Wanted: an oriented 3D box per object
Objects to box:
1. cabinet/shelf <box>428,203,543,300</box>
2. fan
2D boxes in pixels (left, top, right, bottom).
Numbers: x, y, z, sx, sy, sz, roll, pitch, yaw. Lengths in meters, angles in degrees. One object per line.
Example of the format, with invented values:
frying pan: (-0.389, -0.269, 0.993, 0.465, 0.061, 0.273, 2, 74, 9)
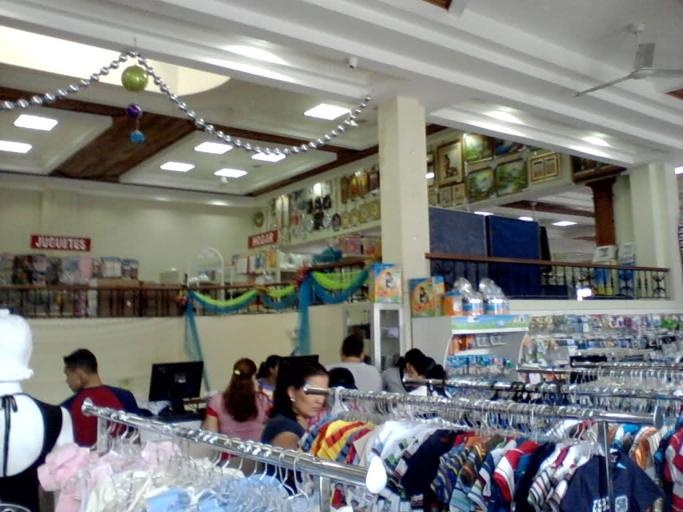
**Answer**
cabinet/shelf: (2.145, -0.036, 7.512, 2.063, 1.314, 0.472, 1, -5, -34)
fan: (3.866, -2.441, 6.612, 0.904, 0.512, 1.106, -9, 2, 3)
